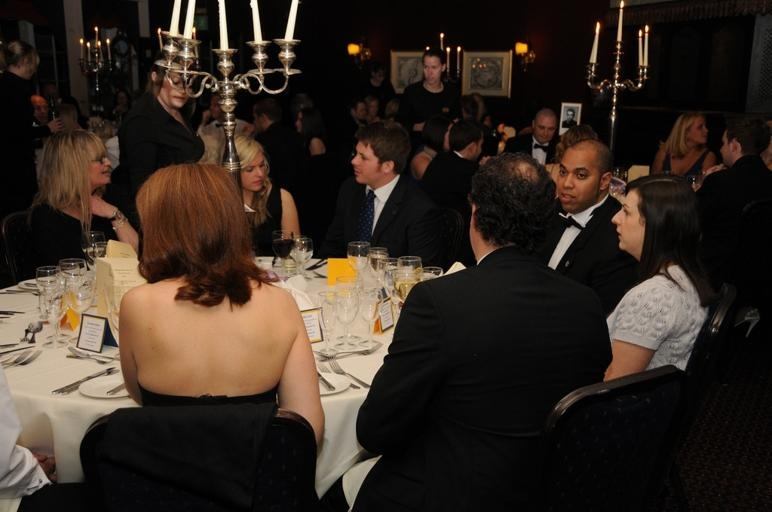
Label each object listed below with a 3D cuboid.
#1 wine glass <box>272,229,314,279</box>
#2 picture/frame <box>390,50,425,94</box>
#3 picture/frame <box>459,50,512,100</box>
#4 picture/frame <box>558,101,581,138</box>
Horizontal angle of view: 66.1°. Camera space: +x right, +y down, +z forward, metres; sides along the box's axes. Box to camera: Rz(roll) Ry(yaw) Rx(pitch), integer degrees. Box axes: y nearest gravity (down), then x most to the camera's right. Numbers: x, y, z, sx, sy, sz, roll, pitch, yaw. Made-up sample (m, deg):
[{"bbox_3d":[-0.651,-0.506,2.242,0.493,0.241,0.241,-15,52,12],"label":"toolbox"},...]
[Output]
[{"bbox_3d":[-0.475,-0.003,3.113,0.227,0.272,0.233,1,1,-1],"label":"wine glass"},{"bbox_3d":[0.414,-2.992,9.585,0.658,0.802,0.047,-3,51,0],"label":"picture/frame"},{"bbox_3d":[1.572,-2.862,9.255,0.785,0.703,0.078,10,24,28],"label":"picture/frame"},{"bbox_3d":[2.104,-1.565,6.755,0.210,0.387,0.031,10,41,20],"label":"picture/frame"}]
